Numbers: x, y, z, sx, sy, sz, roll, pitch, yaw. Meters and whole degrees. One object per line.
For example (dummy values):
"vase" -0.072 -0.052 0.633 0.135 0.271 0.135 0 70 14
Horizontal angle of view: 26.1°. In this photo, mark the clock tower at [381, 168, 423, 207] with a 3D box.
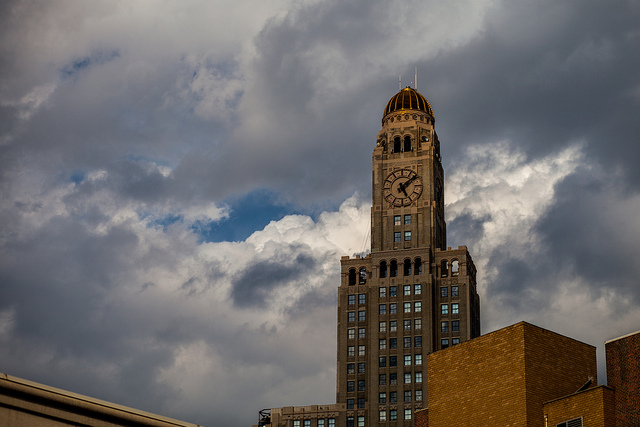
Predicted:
"clock tower" 15.302 -4.875 248.948 6.447 8.061 0.921 -5 -38 10
